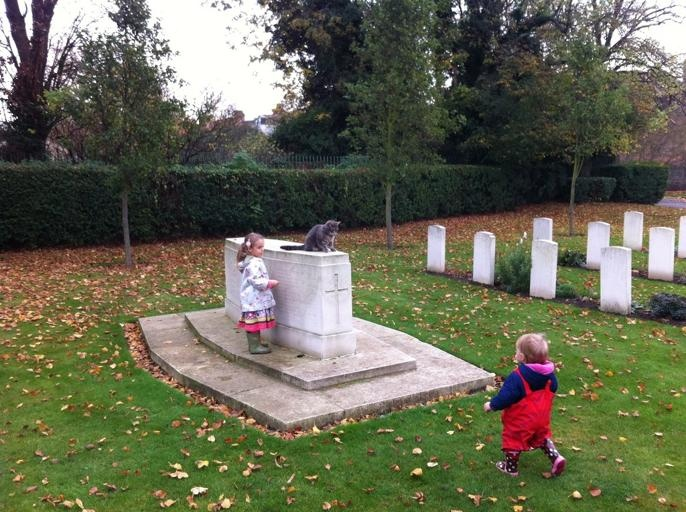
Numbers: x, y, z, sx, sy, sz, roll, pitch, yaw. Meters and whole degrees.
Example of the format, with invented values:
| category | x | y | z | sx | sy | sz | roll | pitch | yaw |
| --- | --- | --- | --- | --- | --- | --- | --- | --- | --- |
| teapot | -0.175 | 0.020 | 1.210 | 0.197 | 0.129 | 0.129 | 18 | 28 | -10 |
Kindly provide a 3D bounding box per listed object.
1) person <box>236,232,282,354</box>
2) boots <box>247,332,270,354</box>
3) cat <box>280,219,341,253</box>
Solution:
| category | x | y | z | sx | sy | sz | roll | pitch | yaw |
| --- | --- | --- | --- | --- | --- | --- | --- | --- | --- |
| person | -1.476 | 0.648 | 9.366 | 0.684 | 2.047 | 0.803 | -1 | 6 | -11 |
| boots | -1.441 | 1.502 | 9.391 | 0.426 | 0.483 | 0.281 | -2 | 6 | -9 |
| cat | -0.576 | -0.359 | 10.116 | 1.289 | 0.637 | 0.475 | -2 | 6 | 30 |
